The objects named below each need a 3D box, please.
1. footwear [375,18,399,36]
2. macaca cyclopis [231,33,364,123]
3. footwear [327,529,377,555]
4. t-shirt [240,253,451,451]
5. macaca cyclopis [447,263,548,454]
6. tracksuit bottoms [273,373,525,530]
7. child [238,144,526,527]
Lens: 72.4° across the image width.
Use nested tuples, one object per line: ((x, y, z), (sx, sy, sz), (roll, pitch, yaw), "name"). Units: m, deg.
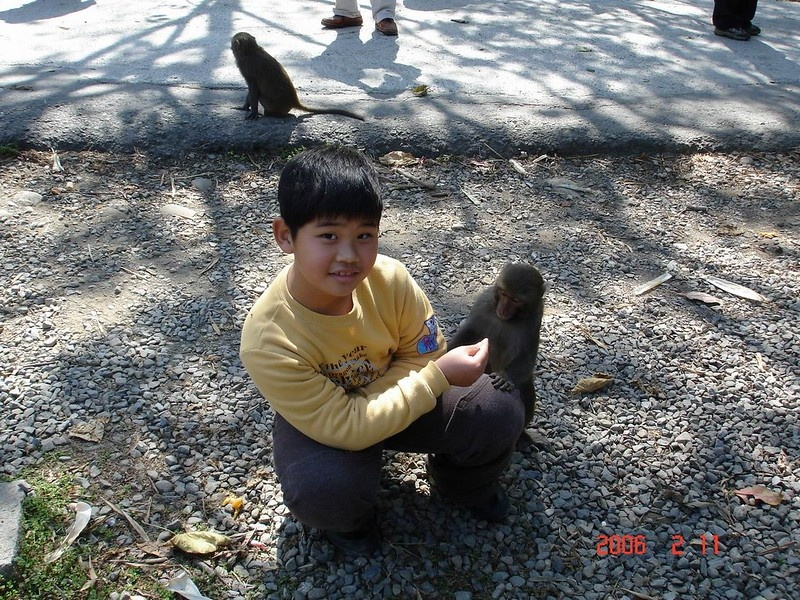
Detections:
((-0.152, -3.163, 6.341), (0.130, 0.132, 0.313), (-18, 42, -20), "footwear")
((-0.857, -1.757, 4.393), (1.272, 0.616, 0.366), (16, 33, 20), "macaca cyclopis")
((-0.191, 0.965, 2.164), (0.171, 0.071, 0.095), (15, 51, -3), "footwear")
((-0.166, 0.209, 2.073), (0.723, 0.413, 0.712), (-4, 58, 25), "t-shirt")
((0.386, 0.295, 2.555), (0.595, 0.896, 0.536), (6, 33, 9), "macaca cyclopis")
((0.030, 0.569, 2.044), (0.751, 0.368, 0.729), (2, 15, 9), "tracksuit bottoms")
((-0.099, 0.214, 2.040), (0.952, 1.411, 0.798), (-18, 30, -32), "child")
